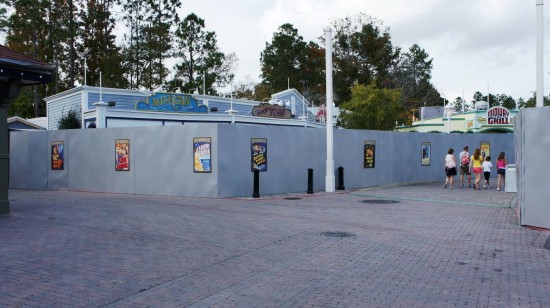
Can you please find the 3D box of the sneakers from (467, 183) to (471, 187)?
[{"bbox_3d":[12.053,1.907,25.571,0.185,0.242,0.576,2,5,31],"label":"sneakers"}]

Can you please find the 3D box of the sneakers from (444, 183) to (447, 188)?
[{"bbox_3d":[10.426,1.914,25.194,0.113,0.339,0.144,-2,37,4],"label":"sneakers"}]

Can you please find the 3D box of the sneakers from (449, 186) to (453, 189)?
[{"bbox_3d":[10.493,1.997,24.625,0.122,0.137,0.347,2,5,34],"label":"sneakers"}]

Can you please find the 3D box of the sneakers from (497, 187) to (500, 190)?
[{"bbox_3d":[12.784,2.020,23.598,0.195,0.234,0.550,-3,-6,26],"label":"sneakers"}]
